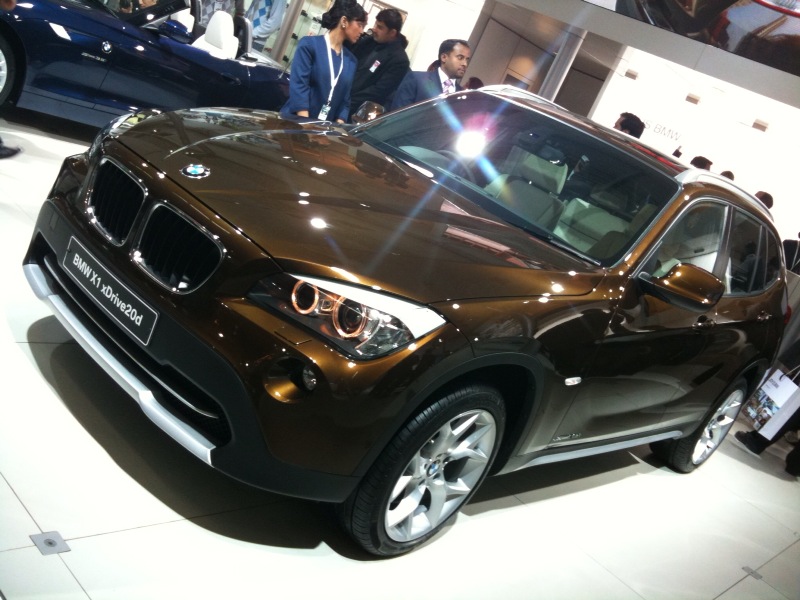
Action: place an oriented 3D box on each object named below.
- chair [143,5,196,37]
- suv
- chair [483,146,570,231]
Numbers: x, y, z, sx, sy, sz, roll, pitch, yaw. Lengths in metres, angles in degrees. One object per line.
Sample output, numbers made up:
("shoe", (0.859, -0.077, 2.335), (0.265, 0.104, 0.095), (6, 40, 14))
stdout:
("chair", (-2.544, -3.160, 5.858), (0.376, 0.188, 0.494), (33, 25, 31))
("suv", (0.590, -0.033, 2.966), (2.303, 1.409, 3.606), (37, 23, 35))
("chair", (0.721, -0.613, 2.937), (0.319, 0.374, 0.408), (32, 21, 16))
